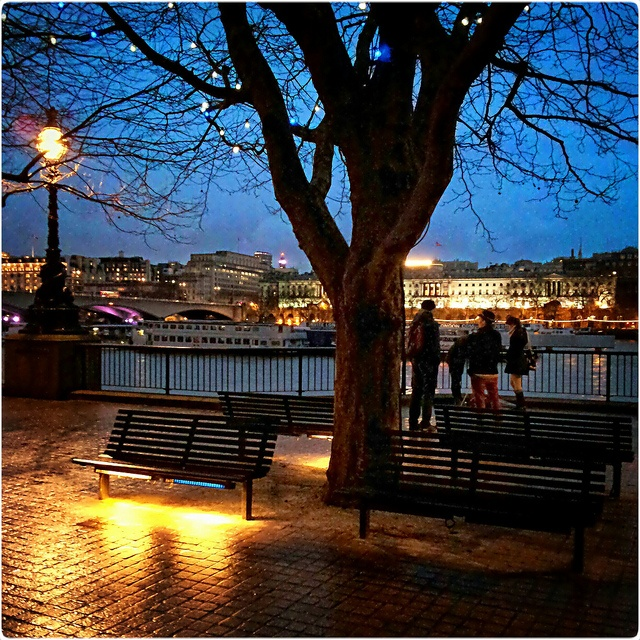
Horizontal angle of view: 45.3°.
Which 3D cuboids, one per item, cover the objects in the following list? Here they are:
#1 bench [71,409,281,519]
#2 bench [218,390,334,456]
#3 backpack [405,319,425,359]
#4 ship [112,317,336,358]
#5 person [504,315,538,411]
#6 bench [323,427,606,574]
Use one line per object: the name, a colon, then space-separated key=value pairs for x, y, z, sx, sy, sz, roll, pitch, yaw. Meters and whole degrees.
bench: x=-1.550 y=1.545 z=8.118 sx=2.282 sy=1.073 sz=0.803 roll=-1 pitch=1 yaw=29
bench: x=-0.547 y=1.316 z=9.905 sx=1.707 sy=0.582 sz=0.588 roll=-1 pitch=0 yaw=15
backpack: x=1.482 y=0.308 z=11.905 sx=0.145 sy=0.502 sz=0.349 roll=9 pitch=-5 yaw=-12
ship: x=-6.286 y=0.950 z=48.356 sx=15.826 sy=3.103 sz=3.852 roll=0 pitch=2 yaw=0
person: x=3.354 y=0.740 z=12.783 sx=0.517 sy=1.625 sz=1.605 roll=2 pitch=4 yaw=16
bench: x=1.384 y=1.632 z=7.136 sx=2.355 sy=0.968 sz=1.021 roll=2 pitch=4 yaw=21
